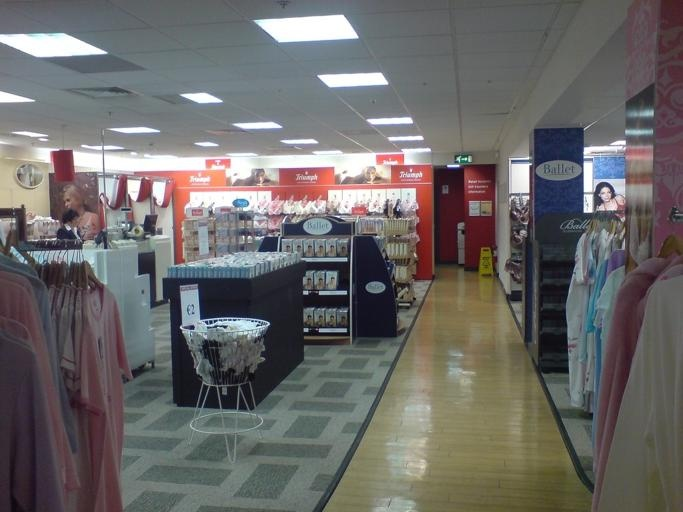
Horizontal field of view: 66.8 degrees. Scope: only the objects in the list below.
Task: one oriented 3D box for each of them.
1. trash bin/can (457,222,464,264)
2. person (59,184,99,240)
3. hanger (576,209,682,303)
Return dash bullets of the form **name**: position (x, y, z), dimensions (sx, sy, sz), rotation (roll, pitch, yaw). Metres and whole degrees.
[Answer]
- **trash bin/can**: position (4.548, -0.476, 19.731), dimensions (0.184, 1.525, 0.472), rotation (-1, 4, 5)
- **person**: position (-6.013, -1.031, 11.948), dimensions (0.553, 0.614, 1.473), rotation (-18, 54, -22)
- **hanger**: position (2.203, -0.189, 4.220), dimensions (0.279, 1.058, 0.746), rotation (5, 2, 2)
